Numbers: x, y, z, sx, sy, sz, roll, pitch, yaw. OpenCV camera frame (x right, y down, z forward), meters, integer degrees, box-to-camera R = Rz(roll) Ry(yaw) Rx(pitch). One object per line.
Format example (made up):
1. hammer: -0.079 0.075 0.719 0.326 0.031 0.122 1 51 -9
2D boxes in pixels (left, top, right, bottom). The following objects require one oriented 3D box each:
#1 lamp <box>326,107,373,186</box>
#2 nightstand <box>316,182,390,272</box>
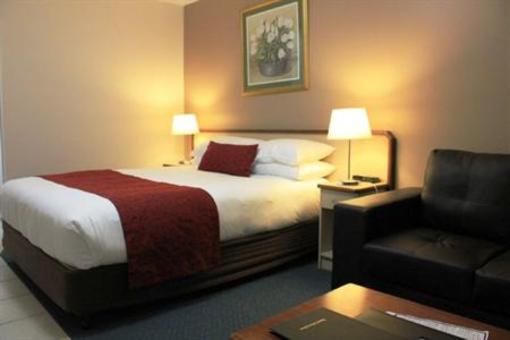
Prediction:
1. lamp: 0.958 -0.226 3.842 0.469 0.770 0.493 3 9 37
2. nightstand: 0.927 0.556 3.690 0.736 0.773 0.748 2 0 36
